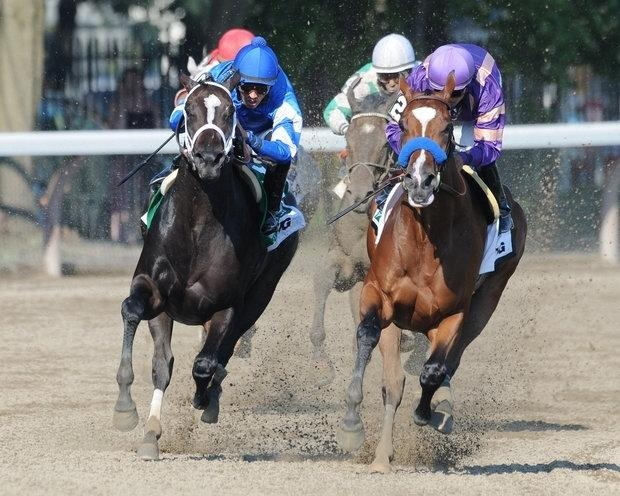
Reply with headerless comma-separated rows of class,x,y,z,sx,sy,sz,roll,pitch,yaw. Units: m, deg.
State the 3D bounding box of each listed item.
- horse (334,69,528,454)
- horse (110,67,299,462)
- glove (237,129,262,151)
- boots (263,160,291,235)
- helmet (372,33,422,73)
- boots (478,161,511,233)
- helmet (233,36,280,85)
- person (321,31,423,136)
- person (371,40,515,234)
horse,0.742,0.124,8.227,1.161,2.501,0.734,-2,14,-10
horse,-0.767,0.112,8.529,0.726,2.725,1.606,11,17,37
glove,-0.425,-0.762,8.385,0.188,0.074,0.110,26,36,-7
boots,-0.258,-0.407,8.820,0.137,0.640,0.157,7,-7,7
helmet,0.721,-1.695,10.034,0.363,0.317,0.537,0,27,16
boots,1.386,-0.362,8.846,0.138,0.633,0.314,-4,13,36
helmet,-0.381,-1.373,8.668,0.296,0.365,0.474,3,17,-9
person,0.553,-1.435,10.164,0.617,1.013,0.662,19,-12,9
person,0.900,-0.955,8.438,0.503,1.100,1.888,-4,34,18
